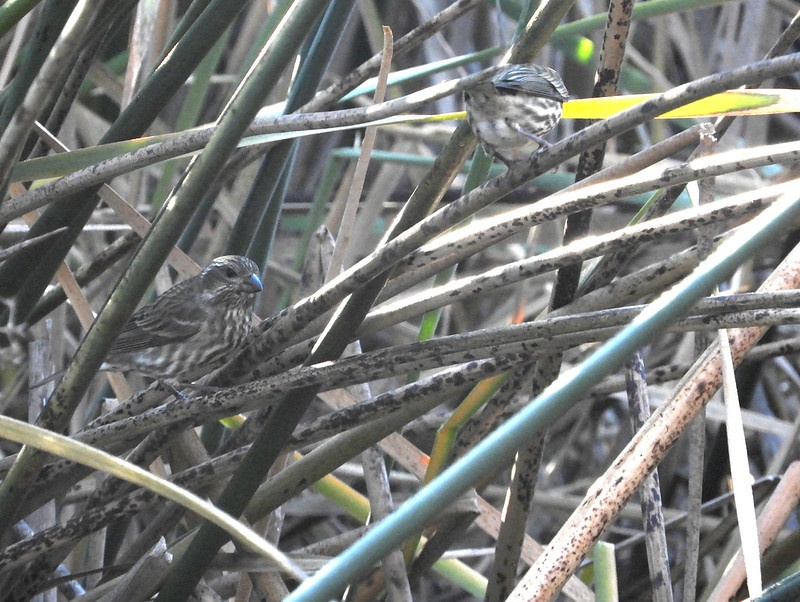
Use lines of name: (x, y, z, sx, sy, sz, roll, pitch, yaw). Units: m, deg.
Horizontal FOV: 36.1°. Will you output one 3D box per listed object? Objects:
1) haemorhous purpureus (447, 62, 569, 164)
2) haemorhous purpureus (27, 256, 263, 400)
haemorhous purpureus: (0.376, -0.612, 3.919, 0.183, 0.260, 0.587, -25, -20, 16)
haemorhous purpureus: (-0.977, 0.115, 4.820, 0.918, 0.606, 0.330, 0, 18, 10)
